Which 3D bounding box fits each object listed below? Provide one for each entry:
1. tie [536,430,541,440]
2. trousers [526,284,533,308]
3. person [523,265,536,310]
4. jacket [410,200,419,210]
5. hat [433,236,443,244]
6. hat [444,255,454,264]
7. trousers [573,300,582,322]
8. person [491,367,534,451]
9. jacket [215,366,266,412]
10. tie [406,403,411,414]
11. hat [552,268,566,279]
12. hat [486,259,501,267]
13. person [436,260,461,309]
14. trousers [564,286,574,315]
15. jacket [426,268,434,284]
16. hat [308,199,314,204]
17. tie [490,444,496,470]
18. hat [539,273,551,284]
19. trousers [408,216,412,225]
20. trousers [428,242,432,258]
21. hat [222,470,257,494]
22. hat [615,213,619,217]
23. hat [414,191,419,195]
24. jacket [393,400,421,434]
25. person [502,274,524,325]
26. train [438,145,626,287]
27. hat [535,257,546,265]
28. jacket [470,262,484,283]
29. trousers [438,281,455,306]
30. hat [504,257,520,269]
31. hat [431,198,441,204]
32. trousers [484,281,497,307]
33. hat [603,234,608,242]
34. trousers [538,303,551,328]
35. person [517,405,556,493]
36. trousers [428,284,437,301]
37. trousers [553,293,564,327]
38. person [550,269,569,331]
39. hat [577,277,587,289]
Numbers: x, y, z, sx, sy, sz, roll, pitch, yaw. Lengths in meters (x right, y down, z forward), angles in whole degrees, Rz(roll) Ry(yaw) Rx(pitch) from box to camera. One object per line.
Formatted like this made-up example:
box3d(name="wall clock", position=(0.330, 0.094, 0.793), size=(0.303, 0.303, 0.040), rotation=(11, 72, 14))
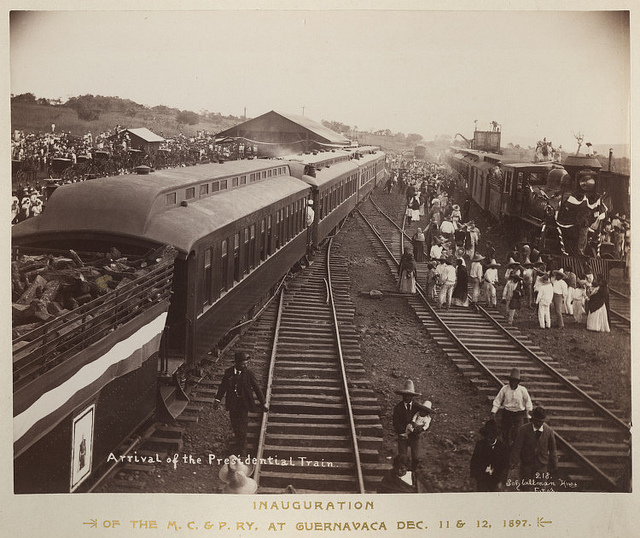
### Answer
box3d(name="tie", position=(2.897, 2.190, 6.769), size=(0.041, 0.093, 0.020), rotation=(3, -1, 7))
box3d(name="trousers", position=(5.440, 0.663, 13.275), size=(0.200, 0.562, 0.541), rotation=(7, 7, 22))
box3d(name="person", position=(5.418, 0.412, 13.206), size=(0.320, 1.088, 0.748), rotation=(7, 7, 26))
box3d(name="jacket", position=(4.241, -2.882, 22.984), size=(0.388, 0.625, 0.313), rotation=(-1, -3, 2))
box3d(name="hat", position=(3.443, -0.861, 14.985), size=(0.189, 0.259, 0.610), rotation=(-1, 13, 20))
box3d(name="hat", position=(3.326, -0.264, 13.067), size=(0.339, 0.232, 0.170), rotation=(0, 8, -35))
box3d(name="trousers", position=(6.033, 0.949, 11.958), size=(0.231, 0.509, 0.112), rotation=(8, 7, 31))
box3d(name="person", position=(2.853, 2.134, 7.556), size=(0.510, 1.365, 0.346), rotation=(2, 13, 19))
box3d(name="jacket", position=(-1.088, 1.631, 7.056), size=(0.688, 0.657, 0.261), rotation=(-3, -38, -4))
box3d(name="tie", position=(1.177, 1.849, 6.839), size=(0.030, 0.138, 0.033), rotation=(1, -7, 2))
box3d(name="hat", position=(5.760, 0.097, 12.287), size=(0.298, 0.171, 0.614), rotation=(9, 8, 28))
box3d(name="hat", position=(4.546, -0.165, 13.469), size=(0.339, 0.185, 0.414), rotation=(-2, 2, -2))
box3d(name="person", position=(3.346, 0.392, 13.185), size=(0.474, 1.269, 0.356), rotation=(3, 6, -11))
box3d(name="trousers", position=(5.891, 0.709, 12.070), size=(0.250, 0.643, 0.119), rotation=(5, 6, 9))
box3d(name="jacket", position=(2.986, 0.164, 13.805), size=(0.122, 0.427, 0.419), rotation=(5, 7, 6))
box3d(name="hat", position=(-0.328, -2.177, 16.370), size=(0.108, 0.095, 0.118), rotation=(0, -1, 16))
box3d(name="tie", position=(2.172, 2.365, 6.451), size=(0.031, 0.345, 0.078), rotation=(9, 7, 39))
box3d(name="hat", position=(5.264, 0.196, 11.849), size=(0.324, 0.213, 0.179), rotation=(-1, 8, -40))
box3d(name="trousers", position=(4.131, -2.289, 23.681), size=(0.144, 0.365, 0.835), rotation=(5, 7, 9))
box3d(name="trousers", position=(3.795, -0.771, 17.824), size=(0.096, 0.407, 0.304), rotation=(5, 6, 11))
box3d(name="hat", position=(-1.025, 2.740, 6.520), size=(0.355, 0.216, 0.388), rotation=(2, 8, 4))
box3d(name="hat", position=(8.244, -1.528, 14.191), size=(0.099, 0.117, 0.027), rotation=(-8, 11, -33))
box3d(name="hat", position=(4.429, -3.519, 23.698), size=(0.146, 0.164, 0.530), rotation=(4, 7, 12))
box3d(name="jacket", position=(1.104, 1.972, 6.774), size=(0.307, 0.464, 0.168), rotation=(3, 11, 8))
box3d(name="person", position=(4.783, 0.688, 12.693), size=(0.361, 1.174, 1.065), rotation=(6, 7, 19))
box3d(name="train", position=(7.250, -2.737, 17.860), size=(2.167, 2.921, 11.495), rotation=(2, 21, 2))
box3d(name="hat", position=(5.808, -0.216, 13.482), size=(0.235, 0.181, 0.259), rotation=(-2, 4, -3))
box3d(name="jacket", position=(4.196, 0.069, 13.643), size=(0.278, 0.474, 0.402), rotation=(-14, 17, -39))
box3d(name="trousers", position=(3.267, 0.617, 13.208), size=(0.370, 0.322, 0.933), rotation=(12, -23, 11))
box3d(name="hat", position=(4.991, -0.178, 13.306), size=(0.271, 0.191, 0.291), rotation=(-15, -5, 1))
box3d(name="hat", position=(4.540, -2.747, 20.008), size=(0.298, 0.254, 0.325), rotation=(1, 3, 8))
box3d(name="trousers", position=(4.463, 0.637, 13.448), size=(0.327, 0.653, 0.402), rotation=(6, 6, 18))
box3d(name="hat", position=(7.698, -0.855, 13.755), size=(0.105, 0.186, 0.315), rotation=(8, 7, 30))
box3d(name="trousers", position=(5.244, 1.080, 11.925), size=(0.323, 0.556, 0.128), rotation=(3, 6, -14))
box3d(name="person", position=(2.956, 2.592, 6.973), size=(0.525, 1.661, 0.446), rotation=(0, 24, 20))
box3d(name="trousers", position=(3.070, 0.602, 13.910), size=(0.280, 0.463, 0.244), rotation=(3, 6, -14))
box3d(name="trousers", position=(5.609, 0.937, 12.008), size=(0.305, 0.743, 0.237), rotation=(7, 7, 27))
box3d(name="person", position=(5.683, 0.721, 12.025), size=(0.451, 1.340, 0.718), rotation=(7, 7, 28))
box3d(name="hat", position=(6.080, 0.323, 11.871), size=(0.152, 0.193, 0.247), rotation=(6, 7, 8))
